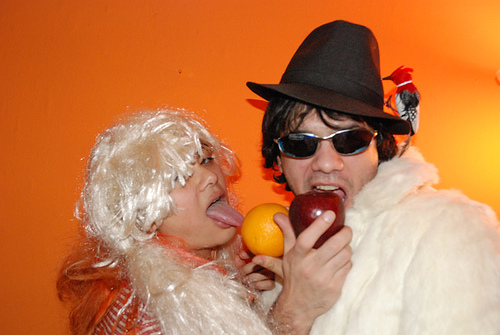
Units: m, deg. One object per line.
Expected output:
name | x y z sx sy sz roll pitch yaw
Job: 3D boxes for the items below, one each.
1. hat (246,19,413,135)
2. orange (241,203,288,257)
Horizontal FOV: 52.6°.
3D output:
hat | 0.707 -0.676 3.676 1.162 0.656 1.180 14 10 -29
orange | 0.068 0.391 3.294 0.281 0.315 0.357 4 -56 -1
